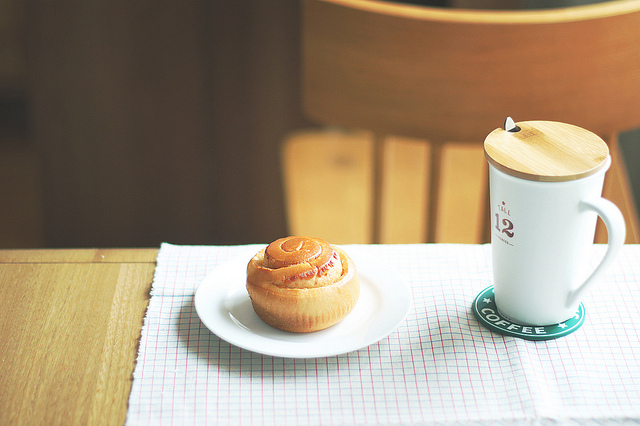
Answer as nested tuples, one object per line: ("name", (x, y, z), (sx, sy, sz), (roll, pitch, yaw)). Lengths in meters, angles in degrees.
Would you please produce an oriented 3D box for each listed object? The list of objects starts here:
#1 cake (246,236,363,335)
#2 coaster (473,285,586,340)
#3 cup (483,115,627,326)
("cake", (-0.026, 0.092, 0.696), (0.123, 0.076, 0.126), (18, 33, 25))
("coaster", (0.275, 0.126, 0.708), (0.144, 0.152, 0.007), (-12, 49, 33))
("cup", (0.305, 0.011, 0.721), (0.185, 0.237, 0.161), (8, 34, 16))
